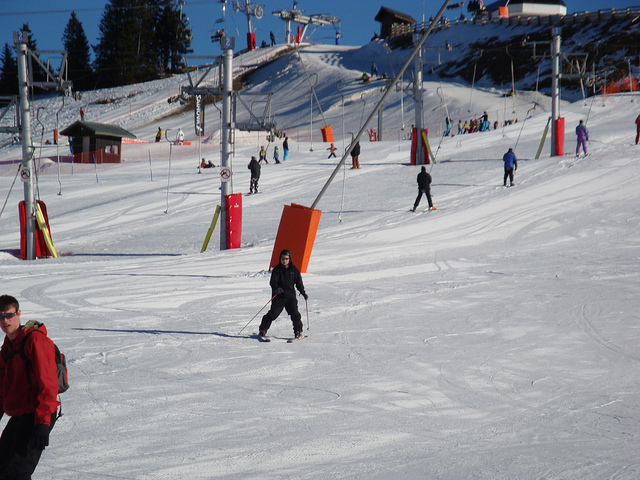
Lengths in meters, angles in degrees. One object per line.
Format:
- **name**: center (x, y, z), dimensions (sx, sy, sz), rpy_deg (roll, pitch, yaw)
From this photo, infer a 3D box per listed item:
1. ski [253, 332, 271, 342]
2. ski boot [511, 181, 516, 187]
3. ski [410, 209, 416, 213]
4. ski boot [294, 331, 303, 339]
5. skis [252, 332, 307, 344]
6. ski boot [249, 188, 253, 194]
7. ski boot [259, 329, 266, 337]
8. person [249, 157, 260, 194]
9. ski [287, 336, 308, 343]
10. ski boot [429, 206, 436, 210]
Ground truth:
- **ski**: center (-2.174, 3.616, 47.279), dimensions (0.697, 0.198, 0.151), rpy_deg (41, 15, 21)
- **ski boot**: center (9.433, -2.827, 61.570), dimensions (0.196, 0.362, 0.201), rpy_deg (2, -2, 25)
- **ski**: center (4.375, -1.458, 59.731), dimensions (0.110, 0.099, 0.355), rpy_deg (-6, 10, -23)
- **ski boot**: center (-0.817, 3.482, 47.205), dimensions (0.232, 0.282, 0.290), rpy_deg (2, -10, -7)
- **skis**: center (-1.518, 3.620, 47.286), dimensions (1.645, 0.252, 0.266), rpy_deg (-3, -25, -7)
- **ski boot**: center (-3.666, -2.696, 66.887), dimensions (0.185, 0.314, 0.695), rpy_deg (-3, 10, -3)
- **ski boot**: center (-2.155, 3.400, 47.185), dimensions (0.206, 0.230, 0.251), rpy_deg (4, -11, -5)
- **person**: center (-3.477, -3.477, 66.502), dimensions (0.533, 1.954, 1.115), rpy_deg (-3, 10, -1)
- **ski**: center (-0.862, 3.671, 47.234), dimensions (0.721, 0.096, 0.207), rpy_deg (-27, 28, -19)
- **ski boot**: center (5.331, -1.567, 59.486), dimensions (0.293, 0.123, 0.100), rpy_deg (-8, 6, 26)
